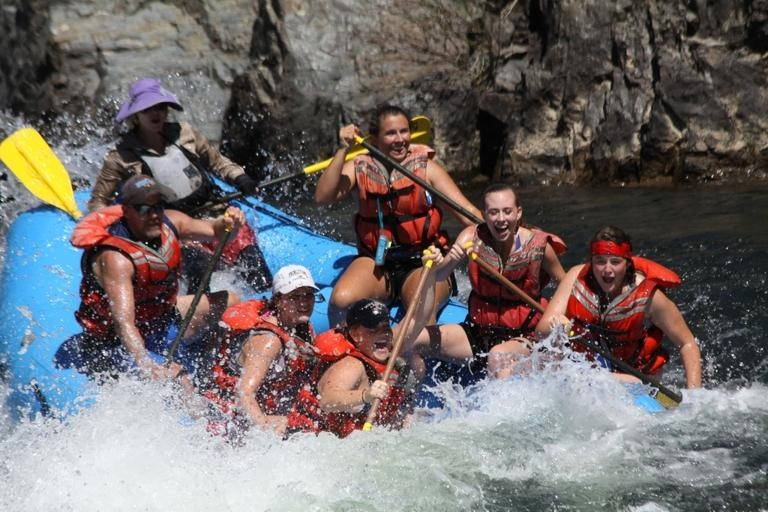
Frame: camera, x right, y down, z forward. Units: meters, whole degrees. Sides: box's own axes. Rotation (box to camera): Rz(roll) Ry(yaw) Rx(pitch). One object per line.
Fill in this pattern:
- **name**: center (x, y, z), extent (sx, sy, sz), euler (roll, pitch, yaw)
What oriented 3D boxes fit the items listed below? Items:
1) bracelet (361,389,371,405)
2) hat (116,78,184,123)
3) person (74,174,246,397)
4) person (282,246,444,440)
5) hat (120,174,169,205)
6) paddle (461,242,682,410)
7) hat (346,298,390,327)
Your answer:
- **bracelet**: center (-0.144, 1.132, 7.834), extent (0.097, 0.096, 0.099), euler (2, 13, 20)
- **hat**: center (-2.242, -1.500, 9.224), extent (0.619, 0.311, 0.757), euler (-6, 12, 12)
- **person**: center (-2.013, 0.297, 8.525), extent (1.055, 1.892, 1.137), euler (9, 30, 21)
- **person**: center (-0.149, 0.788, 8.308), extent (0.847, 1.976, 1.041), euler (28, 16, 12)
- **hat**: center (-2.056, -0.544, 8.284), extent (0.245, 0.296, 0.285), euler (-16, -4, -45)
- **paddle**: center (1.563, 0.627, 8.334), extent (1.923, 0.358, 0.210), euler (40, 21, 10)
- **hat**: center (-0.147, 0.487, 8.030), extent (0.292, 0.154, 0.217), euler (-21, -12, 40)
